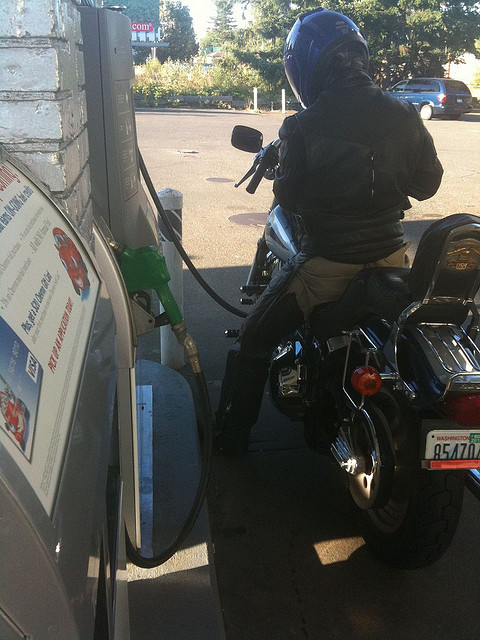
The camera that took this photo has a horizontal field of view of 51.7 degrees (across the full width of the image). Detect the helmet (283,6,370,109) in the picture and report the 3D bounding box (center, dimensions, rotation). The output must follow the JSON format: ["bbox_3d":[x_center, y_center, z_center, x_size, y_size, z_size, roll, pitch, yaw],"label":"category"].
[{"bbox_3d":[0.334,-1.275,2.343,0.335,0.550,0.375,-8,26,-24],"label":"helmet"}]

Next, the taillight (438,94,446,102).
[{"bbox_3d":[8.287,-9.234,20.386,0.090,0.287,0.348,-15,31,-34],"label":"taillight"}]

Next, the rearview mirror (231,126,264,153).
[{"bbox_3d":[0.043,-1.008,2.748,0.184,0.122,0.130,18,38,-6],"label":"rearview mirror"}]
